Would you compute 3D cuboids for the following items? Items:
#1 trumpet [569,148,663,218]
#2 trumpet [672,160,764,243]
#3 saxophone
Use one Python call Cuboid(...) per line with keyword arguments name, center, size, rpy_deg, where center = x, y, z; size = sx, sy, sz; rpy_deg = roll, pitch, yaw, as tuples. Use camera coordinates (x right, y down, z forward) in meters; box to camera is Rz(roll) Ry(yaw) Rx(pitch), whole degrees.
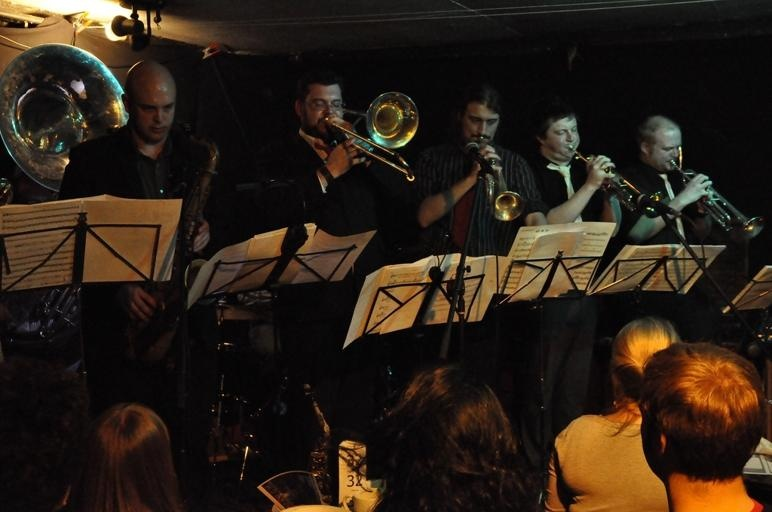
Cuboid(name="trumpet", center=(1.885, -0.611, 6.156), size=(0.656, 0.102, 0.254), rpy_deg=(42, -28, -8))
Cuboid(name="trumpet", center=(2.610, -0.439, 6.152), size=(0.882, 0.361, 0.331), rpy_deg=(43, 34, 25))
Cuboid(name="saxophone", center=(-1.540, -0.099, 5.413), size=(0.574, 1.542, 0.513), rpy_deg=(-2, 13, -15))
